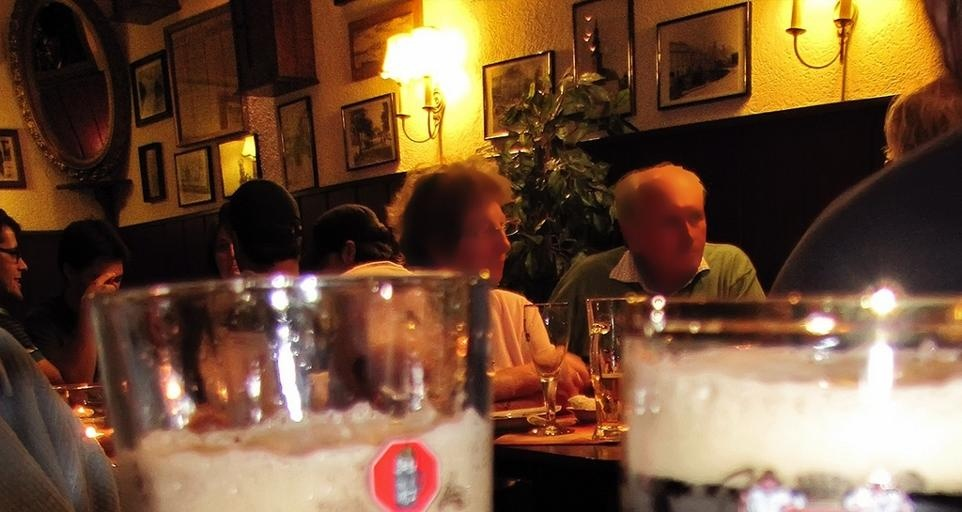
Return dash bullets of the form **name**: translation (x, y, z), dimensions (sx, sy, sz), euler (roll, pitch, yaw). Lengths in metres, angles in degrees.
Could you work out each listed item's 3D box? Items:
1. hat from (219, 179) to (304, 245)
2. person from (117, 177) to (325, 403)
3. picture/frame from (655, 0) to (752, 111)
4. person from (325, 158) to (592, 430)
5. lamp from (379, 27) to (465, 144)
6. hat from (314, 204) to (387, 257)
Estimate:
- **hat**: translation (-1.140, -0.248, 4.067), dimensions (0.324, 0.367, 0.342), euler (-13, -16, -12)
- **person**: translation (-1.395, -0.002, 4.328), dimensions (0.829, 0.834, 1.008), euler (3, -3, -18)
- **picture/frame**: translation (1.295, -1.156, 4.363), dimensions (0.768, 0.634, 0.056), euler (-1, 4, 32)
- **person**: translation (-0.110, 0.077, 3.697), dimensions (1.232, 1.240, 0.923), euler (-4, -4, 18)
- **lamp**: translation (-0.379, -1.180, 5.198), dimensions (0.858, 0.789, 0.451), euler (-2, 22, 0)
- **hat**: translation (-0.676, -0.132, 3.998), dimensions (0.392, 0.262, 0.245), euler (6, 2, -4)
